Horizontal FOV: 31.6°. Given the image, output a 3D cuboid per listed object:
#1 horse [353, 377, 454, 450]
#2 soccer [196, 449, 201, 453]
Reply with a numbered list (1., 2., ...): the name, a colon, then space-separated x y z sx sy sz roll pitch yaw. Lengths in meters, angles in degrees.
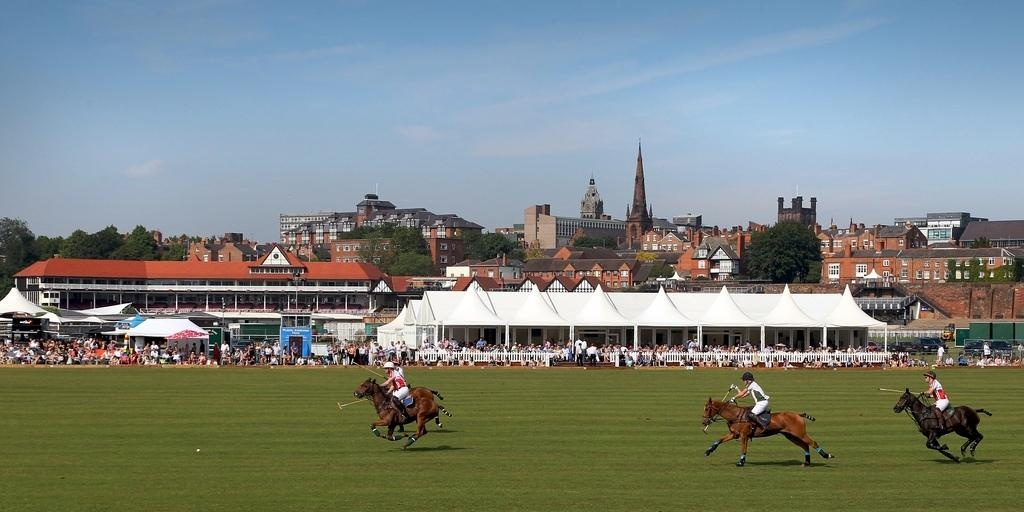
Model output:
1. horse: -5.943 13.763 161.037 15.906 6.924 3.345 4 -8 -18
2. soccer: -27.496 16.920 158.889 0.520 0.320 0.429 0 -2 -9
